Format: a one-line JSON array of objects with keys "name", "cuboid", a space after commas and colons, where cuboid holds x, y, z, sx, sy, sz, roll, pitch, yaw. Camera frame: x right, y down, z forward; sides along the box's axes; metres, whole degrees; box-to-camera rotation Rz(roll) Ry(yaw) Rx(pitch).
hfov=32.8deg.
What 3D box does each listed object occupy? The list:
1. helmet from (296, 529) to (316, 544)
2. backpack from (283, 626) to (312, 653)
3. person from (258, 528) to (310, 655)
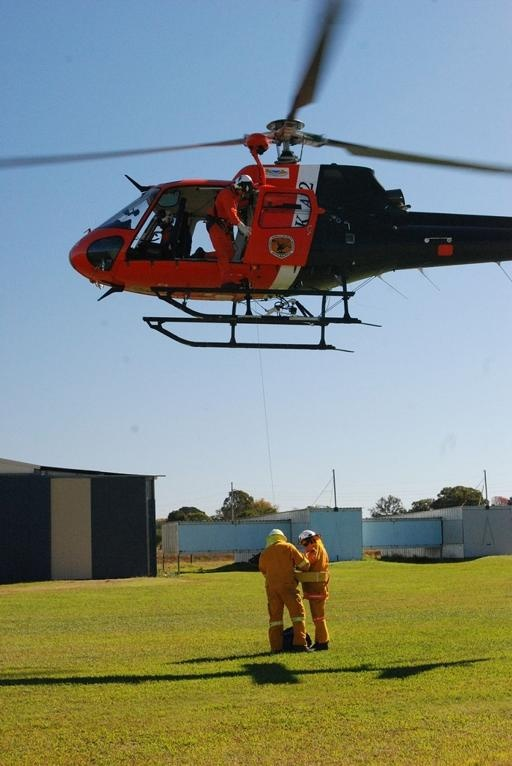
[{"name": "helmet", "cuboid": [0.618, 1.843, 10.335, 0.203, 0.177, 0.245, -5, 9, -36]}, {"name": "backpack", "cuboid": [0.481, 2.907, 9.862, 0.264, 0.312, 0.355, 11, -10, -43]}, {"name": "person", "cuboid": [0.340, 2.349, 9.898, 0.560, 1.334, 0.533, -4, -10, -1]}]
